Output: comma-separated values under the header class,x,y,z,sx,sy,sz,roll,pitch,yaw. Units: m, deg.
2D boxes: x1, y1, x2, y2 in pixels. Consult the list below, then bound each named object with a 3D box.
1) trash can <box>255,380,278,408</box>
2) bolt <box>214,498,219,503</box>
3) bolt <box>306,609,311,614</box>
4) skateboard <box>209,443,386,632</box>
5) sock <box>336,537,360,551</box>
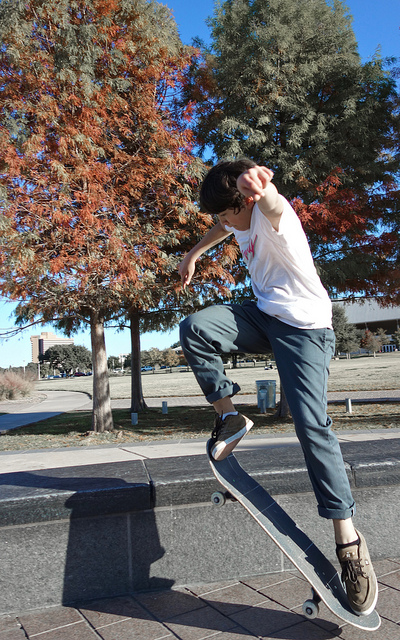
class,x,y,z,sx,sy,sz,roll,pitch,yaw
trash can,1.869,2.091,13.514,0.769,1.001,0.685,0,-10,-1
bolt,0.067,0.749,1.982,0.019,0.005,0.019,1,10,1
bolt,0.388,1.041,1.701,0.015,0.003,0.014,-10,15,-44
skateboard,0.399,0.970,2.069,0.243,0.151,1.004,11,27,-50
sock,0.560,0.843,1.788,0.087,0.034,0.038,-2,-7,-2
